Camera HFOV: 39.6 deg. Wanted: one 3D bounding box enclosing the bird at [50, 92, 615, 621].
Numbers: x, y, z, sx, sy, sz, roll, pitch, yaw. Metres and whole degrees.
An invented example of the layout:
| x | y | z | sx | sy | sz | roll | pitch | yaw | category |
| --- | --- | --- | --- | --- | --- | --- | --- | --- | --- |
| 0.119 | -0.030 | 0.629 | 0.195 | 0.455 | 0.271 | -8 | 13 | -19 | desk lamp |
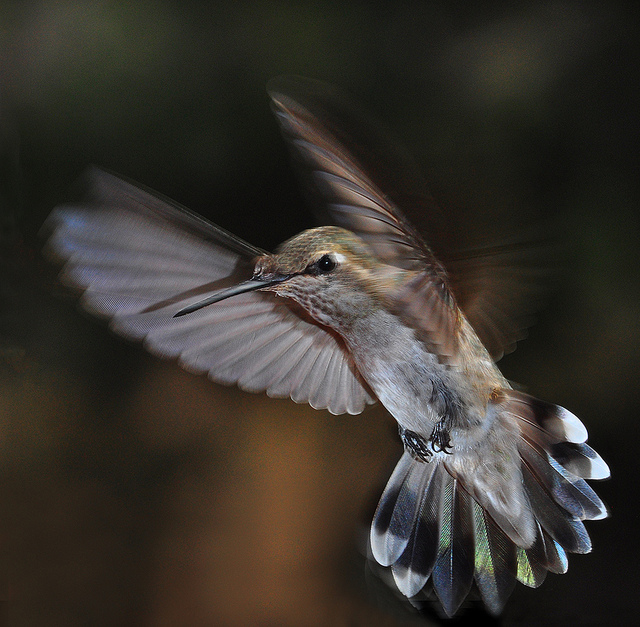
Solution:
| x | y | z | sx | sy | sz | roll | pitch | yaw | category |
| --- | --- | --- | --- | --- | --- | --- | --- | --- | --- |
| -0.050 | 0.042 | 1.405 | 1.095 | 0.365 | 0.680 | 19 | 37 | 10 | bird |
